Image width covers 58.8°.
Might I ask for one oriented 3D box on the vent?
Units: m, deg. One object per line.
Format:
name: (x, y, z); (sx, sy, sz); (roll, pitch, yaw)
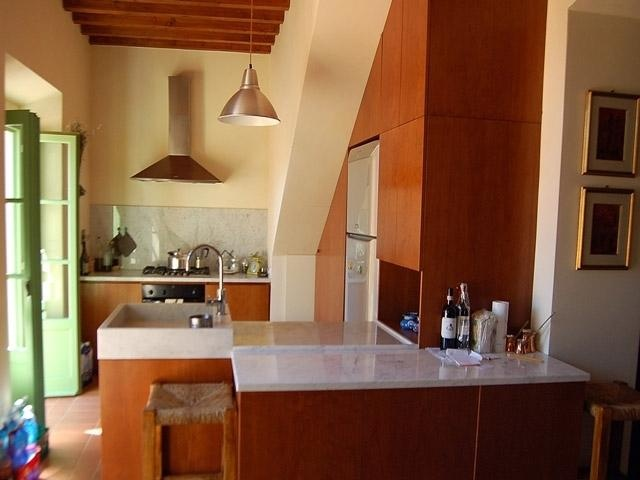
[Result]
vent: (-1.692, -1.301, 6.483); (1.002, 1.371, 0.753); (2, 7, -2)

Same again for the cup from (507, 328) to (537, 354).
cup: (1.339, 0.669, 3.768); (0.113, 0.159, 0.215); (1, 1, -3)

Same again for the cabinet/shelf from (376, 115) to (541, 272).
cabinet/shelf: (0.959, -0.273, 4.174); (0.884, 1.041, 1.006); (2, 3, -4)

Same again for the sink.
sink: (-1.050, 0.628, 4.061); (0.878, 0.340, 0.735); (0, 1, -9)

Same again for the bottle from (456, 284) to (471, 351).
bottle: (0.947, 0.499, 3.732); (0.079, 0.431, 0.170); (0, 1, 19)

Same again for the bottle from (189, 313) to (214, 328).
bottle: (-0.825, 0.541, 3.927); (0.109, 0.073, 0.110); (0, -4, 0)

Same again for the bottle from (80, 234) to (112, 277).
bottle: (-2.486, 0.183, 6.302); (0.132, 0.426, 0.414); (-2, 0, 28)

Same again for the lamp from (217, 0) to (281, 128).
lamp: (-0.498, -1.072, 4.045); (0.446, 0.495, 0.407); (0, 1, 15)

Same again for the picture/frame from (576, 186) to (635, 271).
picture/frame: (1.878, -0.076, 3.742); (0.391, 0.537, 0.083); (0, 1, -16)

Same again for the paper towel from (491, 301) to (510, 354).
paper towel: (1.206, 0.577, 3.766); (0.087, 0.326, 0.088); (2, -2, 35)

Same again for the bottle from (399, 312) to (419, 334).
bottle: (0.639, 0.586, 4.033); (0.087, 0.080, 0.127); (0, 0, -4)

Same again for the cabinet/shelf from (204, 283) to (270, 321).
cabinet/shelf: (-0.823, 0.593, 5.599); (0.487, 0.388, 0.279); (0, 7, -4)

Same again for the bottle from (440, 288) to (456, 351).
bottle: (0.857, 0.513, 3.722); (0.122, 0.403, 0.140); (0, 1, -8)
